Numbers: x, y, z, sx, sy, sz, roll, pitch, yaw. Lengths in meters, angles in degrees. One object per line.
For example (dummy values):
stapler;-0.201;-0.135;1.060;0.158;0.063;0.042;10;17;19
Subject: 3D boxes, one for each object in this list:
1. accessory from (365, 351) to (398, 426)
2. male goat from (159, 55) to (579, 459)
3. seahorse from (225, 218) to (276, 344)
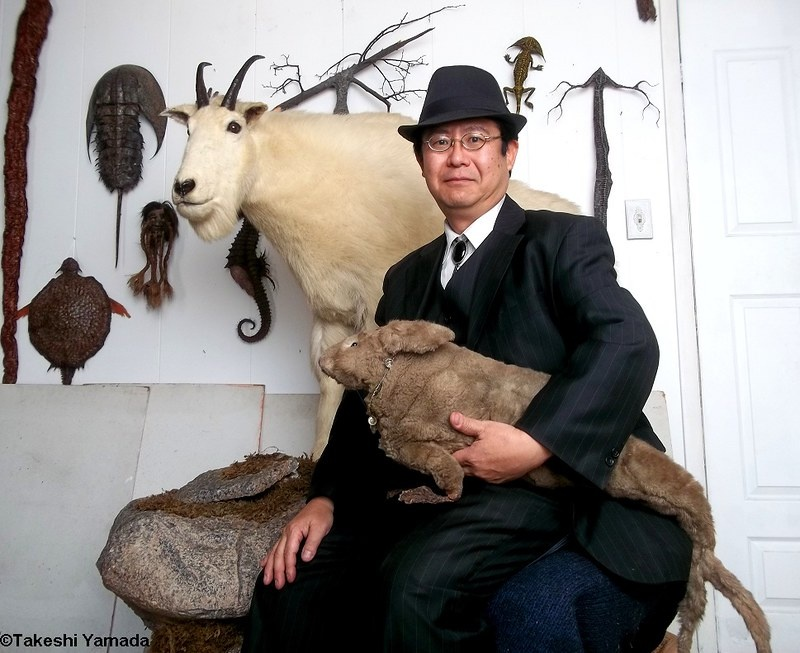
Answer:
accessory;-0.066;0.189;2.443;0.052;0.326;0.050;13;6;-22
male goat;-0.100;-0.148;3.508;1.968;1.838;0.532;11;-14;-31
seahorse;-0.751;-0.277;3.888;0.153;0.730;0.212;3;10;7
